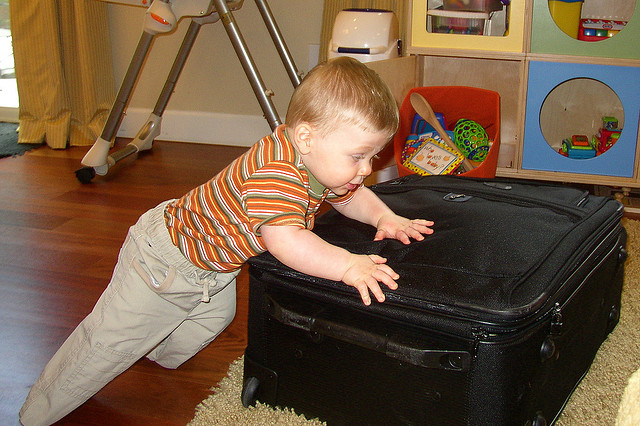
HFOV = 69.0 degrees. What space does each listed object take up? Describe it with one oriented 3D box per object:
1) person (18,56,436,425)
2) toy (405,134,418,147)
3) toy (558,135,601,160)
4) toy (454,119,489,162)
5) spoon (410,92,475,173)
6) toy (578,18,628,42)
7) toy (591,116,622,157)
[{"bbox_3d":[-0.305,-0.099,1.438,1.225,1.059,0.652,3,24,10],"label":"person"},{"bbox_3d":[0.388,-0.312,1.984,0.035,0.040,0.147,-8,23,24],"label":"toy"},{"bbox_3d":[1.219,-0.310,2.183,0.129,0.065,0.192,3,23,14],"label":"toy"},{"bbox_3d":[0.672,-0.317,1.997,0.115,0.203,0.152,-15,30,30],"label":"toy"},{"bbox_3d":[0.508,-0.335,1.921,0.066,0.385,0.057,-38,-14,32],"label":"spoon"},{"bbox_3d":[1.257,-0.821,2.072,0.188,0.085,0.139,9,26,17],"label":"toy"},{"bbox_3d":[1.346,-0.376,2.191,0.143,0.145,0.098,-6,21,5],"label":"toy"}]
